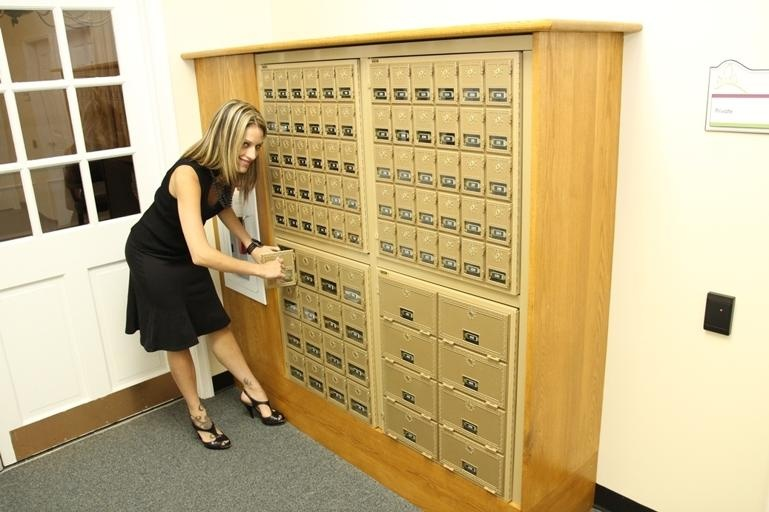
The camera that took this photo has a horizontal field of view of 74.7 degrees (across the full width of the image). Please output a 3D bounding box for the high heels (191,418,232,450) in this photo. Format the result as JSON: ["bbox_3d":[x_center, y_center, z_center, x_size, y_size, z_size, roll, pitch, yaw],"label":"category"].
[{"bbox_3d":[-1.110,1.173,3.267,0.129,0.085,0.323,-17,34,-41],"label":"high heels"}]

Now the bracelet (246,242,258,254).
[{"bbox_3d":[-0.846,-0.054,3.224,0.037,0.051,0.054,44,30,12],"label":"bracelet"}]

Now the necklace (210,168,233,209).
[{"bbox_3d":[-0.955,-0.389,2.954,0.130,0.177,0.057,-41,31,-26],"label":"necklace"}]
